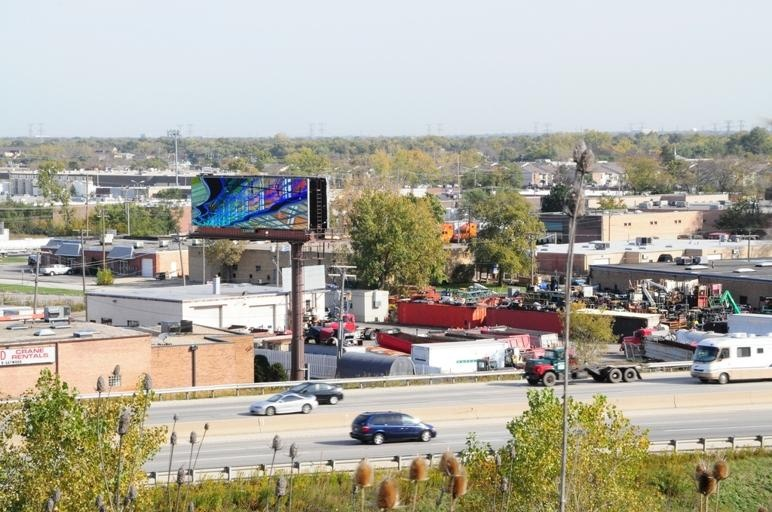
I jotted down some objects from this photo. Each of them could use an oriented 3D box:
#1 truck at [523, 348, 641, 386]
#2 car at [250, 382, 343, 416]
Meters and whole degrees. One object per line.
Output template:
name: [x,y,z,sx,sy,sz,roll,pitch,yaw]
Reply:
truck: [13.129,7.253,127.321,7.198,2.363,3.080,1,-5,-12]
car: [-5.865,9.535,122.886,5.507,1.614,2.183,-2,2,-29]
